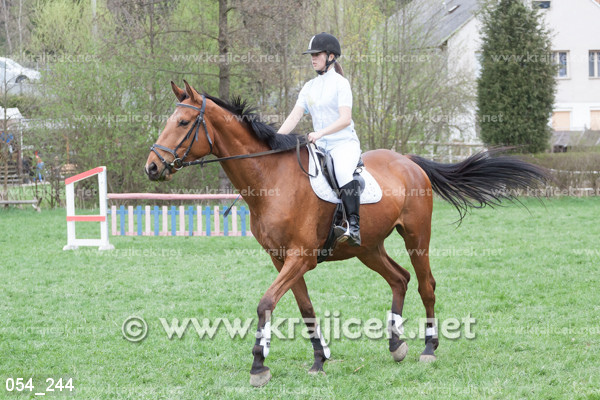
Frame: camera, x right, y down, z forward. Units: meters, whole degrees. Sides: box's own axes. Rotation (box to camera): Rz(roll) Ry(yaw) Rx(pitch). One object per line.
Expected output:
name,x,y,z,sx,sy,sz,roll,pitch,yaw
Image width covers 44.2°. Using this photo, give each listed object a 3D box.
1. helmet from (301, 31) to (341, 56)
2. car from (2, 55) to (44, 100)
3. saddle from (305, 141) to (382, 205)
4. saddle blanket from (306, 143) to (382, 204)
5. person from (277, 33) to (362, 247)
helmet,0.476,-3.158,15.005,0.635,0.381,0.445,-1,4,-17
car,-10.852,-4.757,28.851,2.331,0.729,1.435,18,27,39
saddle,1.086,-0.437,15.026,2.395,1.434,0.717,7,-7,-29
saddle blanket,0.914,-0.538,15.134,1.505,1.219,0.301,0,-1,-14
person,0.580,-1.217,15.094,1.389,4.367,0.635,0,-1,3
